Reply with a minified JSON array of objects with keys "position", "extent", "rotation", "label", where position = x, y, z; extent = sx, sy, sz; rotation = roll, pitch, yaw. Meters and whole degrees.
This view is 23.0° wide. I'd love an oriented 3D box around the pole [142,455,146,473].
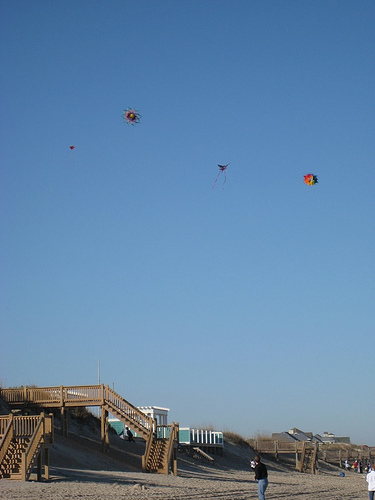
[{"position":[-1.784,8.880,38.240],"extent":[0.210,0.735,0.363],"rotation":[6,-19,-1],"label":"pole"}]
